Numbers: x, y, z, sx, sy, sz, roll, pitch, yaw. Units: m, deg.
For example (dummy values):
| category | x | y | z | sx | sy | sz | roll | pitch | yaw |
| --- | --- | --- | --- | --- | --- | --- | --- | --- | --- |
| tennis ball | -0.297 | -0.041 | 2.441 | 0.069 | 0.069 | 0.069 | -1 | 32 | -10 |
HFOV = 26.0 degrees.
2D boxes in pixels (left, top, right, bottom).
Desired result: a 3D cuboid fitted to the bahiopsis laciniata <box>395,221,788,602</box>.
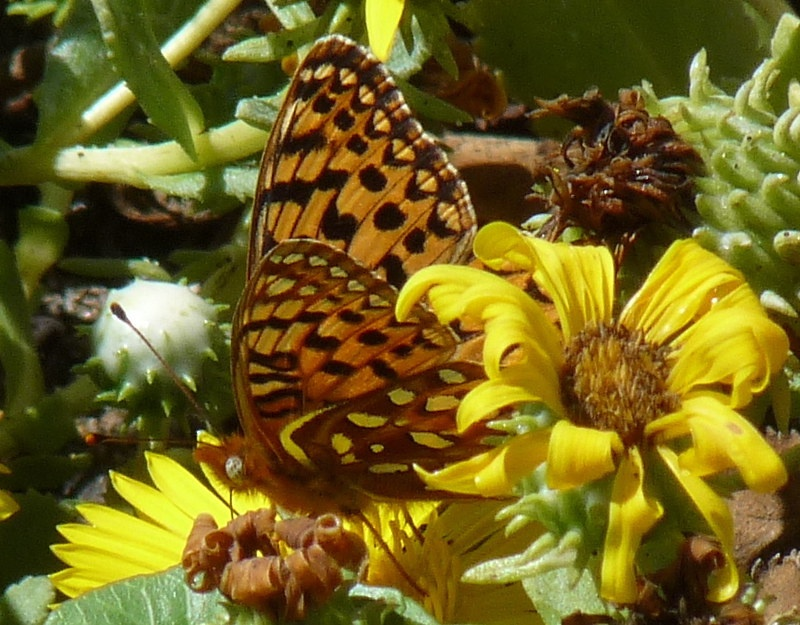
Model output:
| category | x | y | z | sx | sy | sz | roll | pitch | yaw |
| --- | --- | --- | --- | --- | --- | --- | --- | --- | --- |
| bahiopsis laciniata | 0.376 | 0.144 | 3.177 | 0.671 | 0.246 | 0.668 | -37 | 64 | -4 |
